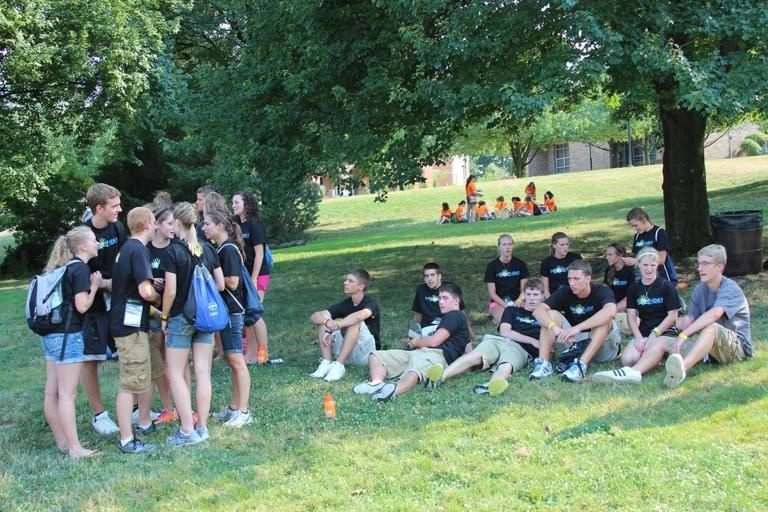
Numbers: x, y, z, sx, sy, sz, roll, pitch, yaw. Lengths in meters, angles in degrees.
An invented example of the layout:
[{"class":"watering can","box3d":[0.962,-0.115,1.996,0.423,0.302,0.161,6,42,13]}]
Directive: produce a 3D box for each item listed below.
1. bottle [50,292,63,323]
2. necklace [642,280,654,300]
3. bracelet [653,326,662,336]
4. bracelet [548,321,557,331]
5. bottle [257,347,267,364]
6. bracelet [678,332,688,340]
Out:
[{"class":"bottle","box3d":[-4.832,0.765,10.849,0.137,0.377,0.222,4,1,35]},{"class":"necklace","box3d":[4.534,0.586,12.657,0.245,0.337,0.085,9,6,43]},{"class":"bracelet","box3d":[4.540,1.253,12.285,0.141,0.102,0.046,19,-4,-34]},{"class":"bracelet","box3d":[2.857,1.184,12.503,0.122,0.067,0.140,30,-1,3]},{"class":"bottle","box3d":[-2.266,1.845,13.785,0.188,0.268,0.265,0,-5,-8]},{"class":"bracelet","box3d":[4.764,1.280,11.787,0.151,0.116,0.187,-2,4,39]}]
